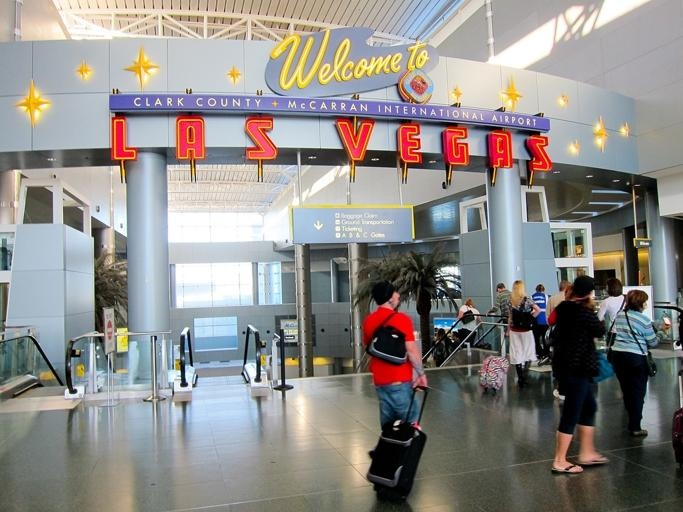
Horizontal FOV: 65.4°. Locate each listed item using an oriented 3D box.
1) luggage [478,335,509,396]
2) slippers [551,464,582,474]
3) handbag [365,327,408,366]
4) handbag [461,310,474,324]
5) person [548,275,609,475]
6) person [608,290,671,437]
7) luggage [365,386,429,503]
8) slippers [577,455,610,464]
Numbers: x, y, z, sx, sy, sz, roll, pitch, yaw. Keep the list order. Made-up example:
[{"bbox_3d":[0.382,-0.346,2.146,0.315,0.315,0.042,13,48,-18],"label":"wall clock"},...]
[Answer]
[{"bbox_3d":[2.961,1.979,10.221,0.492,1.279,0.500,14,14,35],"label":"luggage"},{"bbox_3d":[2.768,2.589,6.515,0.261,0.072,0.145,-2,-6,3],"label":"slippers"},{"bbox_3d":[0.578,1.035,6.286,0.480,0.451,0.210,17,-13,-5],"label":"handbag"},{"bbox_3d":[3.375,1.641,14.213,0.298,0.272,0.357,-3,7,2],"label":"handbag"},{"bbox_3d":[2.962,1.440,6.657,0.632,2.409,0.633,-1,1,26],"label":"person"},{"bbox_3d":[4.145,1.507,7.526,0.600,2.072,0.320,-1,1,26],"label":"person"},{"bbox_3d":[0.653,2.164,6.209,0.696,1.237,0.425,-1,1,9],"label":"luggage"},{"bbox_3d":[3.159,2.581,6.658,0.350,0.106,0.134,-4,-8,-5],"label":"slippers"}]
